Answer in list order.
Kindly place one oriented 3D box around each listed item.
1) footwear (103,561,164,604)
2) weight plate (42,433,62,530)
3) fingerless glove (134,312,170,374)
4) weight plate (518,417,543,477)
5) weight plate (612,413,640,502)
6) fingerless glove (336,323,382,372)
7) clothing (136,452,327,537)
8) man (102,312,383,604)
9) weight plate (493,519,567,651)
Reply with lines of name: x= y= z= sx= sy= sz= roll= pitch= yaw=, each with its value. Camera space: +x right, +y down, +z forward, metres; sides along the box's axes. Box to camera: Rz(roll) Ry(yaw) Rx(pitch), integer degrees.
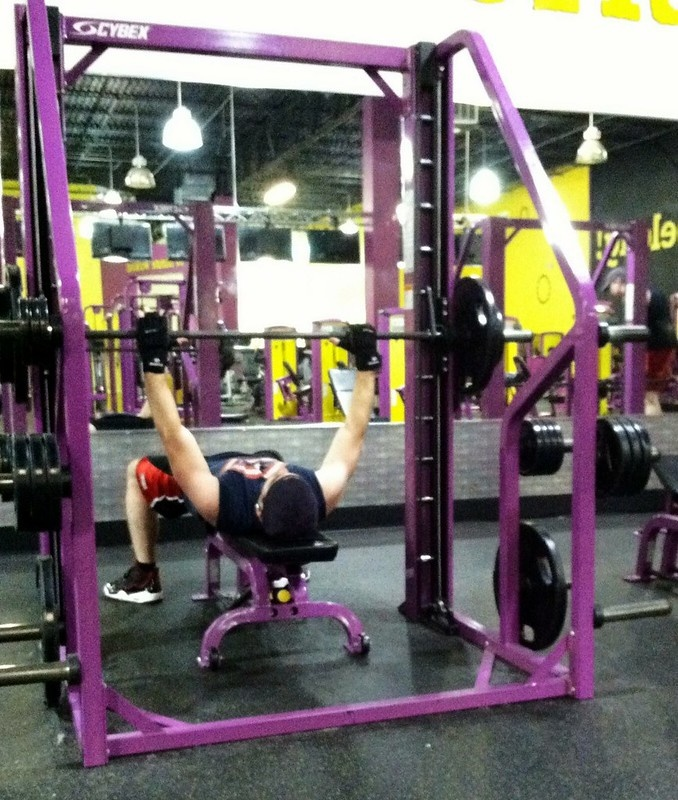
footwear: x=-0.779 y=0.672 z=3.471 sx=0.221 sy=0.240 sz=0.117 roll=3 pitch=-5 yaw=10
weight plate: x=-0.630 y=0.185 z=2.016 sx=0.044 sy=0.168 sz=0.137 roll=2 pitch=-16 yaw=-9
fingerless glove: x=-0.468 y=-0.139 z=2.317 sx=0.062 sy=0.174 sz=0.032 roll=1 pitch=1 yaw=-7
weight plate: x=0.576 y=0.139 z=2.769 sx=0.043 sy=0.167 sz=0.131 roll=1 pitch=4 yaw=-1
weight plate: x=0.853 y=0.177 z=2.723 sx=0.073 sy=0.229 sz=0.131 roll=1 pitch=5 yaw=21
fingerless glove: x=0.062 y=-0.160 z=2.864 sx=0.105 sy=0.162 sz=0.053 roll=0 pitch=3 yaw=-26
clothing: x=-0.276 y=0.292 z=2.815 sx=0.298 sy=0.179 sz=0.461 roll=2 pitch=9 yaw=-29
man: x=-0.316 y=0.243 z=3.013 sx=0.525 sy=0.957 sz=0.852 roll=0 pitch=3 yaw=-20
weight plate: x=0.558 y=0.560 z=2.720 sx=0.050 sy=0.387 sz=0.297 roll=-1 pitch=11 yaw=-20
